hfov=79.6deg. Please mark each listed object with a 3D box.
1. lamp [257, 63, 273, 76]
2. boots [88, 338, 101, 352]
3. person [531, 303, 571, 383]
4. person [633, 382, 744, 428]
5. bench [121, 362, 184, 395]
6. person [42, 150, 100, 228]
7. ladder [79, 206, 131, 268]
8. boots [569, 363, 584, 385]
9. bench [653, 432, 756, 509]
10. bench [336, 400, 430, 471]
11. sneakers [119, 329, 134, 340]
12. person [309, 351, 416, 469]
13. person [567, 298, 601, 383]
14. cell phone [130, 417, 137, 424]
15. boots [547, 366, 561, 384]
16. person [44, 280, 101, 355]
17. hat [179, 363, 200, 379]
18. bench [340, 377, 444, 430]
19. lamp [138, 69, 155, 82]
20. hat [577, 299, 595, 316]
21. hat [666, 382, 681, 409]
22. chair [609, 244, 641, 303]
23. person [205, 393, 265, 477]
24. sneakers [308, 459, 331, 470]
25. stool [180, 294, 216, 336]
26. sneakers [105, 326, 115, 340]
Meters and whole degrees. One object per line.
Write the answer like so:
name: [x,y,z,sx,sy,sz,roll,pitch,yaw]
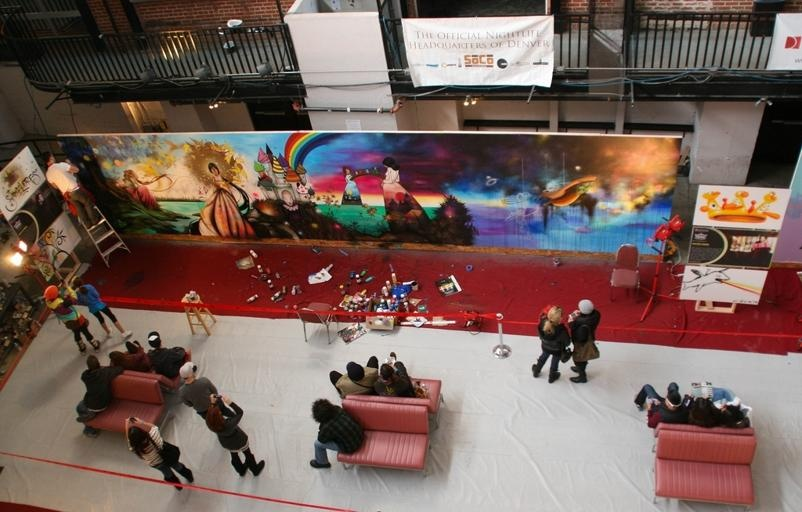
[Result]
lamp: [-3.248,-4.394,11.420,0.308,0.323,0.447,-11,32,-6]
boots: [-6.947,1.978,10.850,0.155,0.296,0.297,-12,13,1]
person: [2.847,1.634,9.080,0.659,1.666,0.522,3,36,16]
person: [4.832,2.534,8.082,0.873,0.567,1.344,-20,10,11]
bench: [-4.929,2.420,9.545,0.809,0.733,0.715,10,32,11]
person: [-8.415,-1.619,12.338,0.692,2.122,0.977,-30,39,-28]
ladder: [-8.075,-0.512,13.033,0.833,1.629,0.475,11,66,22]
boots: [3.377,2.266,9.245,0.292,0.392,0.235,14,50,22]
bench: [4.801,3.281,7.630,1.432,0.952,0.754,0,34,11]
bench: [-0.219,3.388,8.944,2.185,1.365,1.120,2,54,8]
sneakers: [-6.297,1.791,11.035,0.265,0.165,0.146,-31,54,-21]
person: [-0.681,2.828,8.617,1.231,1.720,0.883,20,54,14]
person: [3.417,1.598,8.994,0.563,1.738,0.530,0,35,12]
cell phone: [-4.588,2.797,8.249,0.055,0.104,0.344,2,-6,-23]
boots: [2.950,2.297,9.282,0.161,0.305,0.320,25,58,36]
person: [-7.202,1.345,10.553,0.502,1.699,0.621,-27,38,-25]
hat: [-3.774,1.992,8.488,0.210,0.265,0.345,-16,33,-12]
bench: [0.080,2.461,8.755,1.732,1.046,0.893,2,47,8]
lamp: [-6.405,-4.525,12.096,0.372,0.301,0.354,-20,35,-20]
hat: [3.377,0.916,8.799,0.317,0.227,0.300,10,30,20]
hat: [4.566,2.258,7.998,0.219,0.310,0.463,13,37,29]
chair: [4.887,0.346,10.398,0.619,1.110,0.747,9,37,24]
person: [-2.946,3.185,8.522,0.540,1.885,0.618,-26,38,-24]
sneakers: [-1.483,3.779,8.752,0.408,0.155,0.150,9,28,2]
stool: [-4.708,1.397,11.094,0.496,0.797,0.471,-8,59,-1]
sneakers: [-6.733,1.793,11.058,0.115,0.170,0.238,-8,53,-8]
